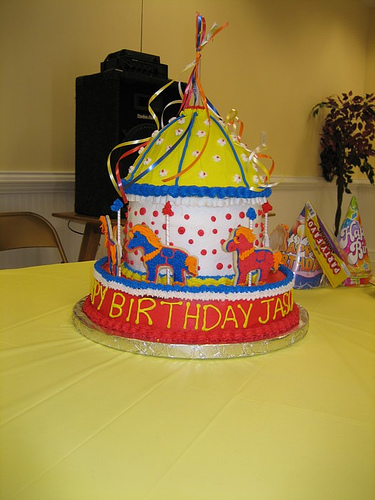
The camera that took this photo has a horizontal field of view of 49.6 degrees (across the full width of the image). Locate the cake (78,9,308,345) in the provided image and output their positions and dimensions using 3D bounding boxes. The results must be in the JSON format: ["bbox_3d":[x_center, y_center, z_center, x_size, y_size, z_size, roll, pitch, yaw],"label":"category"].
[{"bbox_3d":[0.002,-0.173,0.901,0.515,0.574,0.467,-13,25,-41],"label":"cake"}]

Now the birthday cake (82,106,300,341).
[{"bbox_3d":[0.000,-0.029,0.906,0.454,0.425,0.447,1,7,-19],"label":"birthday cake"}]

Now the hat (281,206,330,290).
[{"bbox_3d":[0.319,-0.013,1.167,0.149,0.226,0.207,11,8,35],"label":"hat"}]
